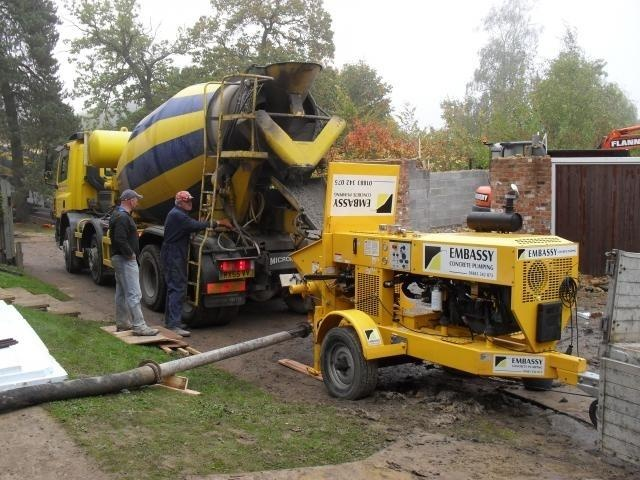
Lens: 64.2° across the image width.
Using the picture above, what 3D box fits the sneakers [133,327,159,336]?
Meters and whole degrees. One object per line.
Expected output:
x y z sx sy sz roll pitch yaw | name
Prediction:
-2.573 1.335 7.550 0.389 0.134 0.136 -1 0 -6 | sneakers

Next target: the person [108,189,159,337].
-2.861 0.318 7.753 0.664 2.137 1.045 4 4 -26 | person

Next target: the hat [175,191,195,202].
-2.329 -0.738 8.668 0.315 0.132 0.199 -5 4 25 | hat

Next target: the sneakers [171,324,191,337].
-2.279 1.491 8.409 0.203 0.058 0.283 -4 8 -37 | sneakers
